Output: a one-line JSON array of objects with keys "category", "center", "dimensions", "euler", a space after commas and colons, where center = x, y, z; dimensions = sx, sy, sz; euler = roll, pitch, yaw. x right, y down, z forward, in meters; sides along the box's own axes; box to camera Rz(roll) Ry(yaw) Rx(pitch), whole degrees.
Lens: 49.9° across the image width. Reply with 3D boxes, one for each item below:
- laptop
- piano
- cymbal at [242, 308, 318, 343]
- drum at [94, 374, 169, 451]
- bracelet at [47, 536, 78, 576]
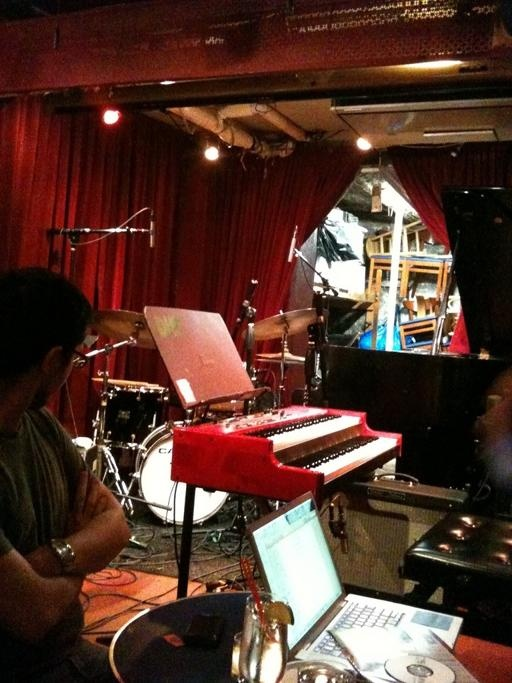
[{"category": "laptop", "center": [0.198, 0.496, 1.091], "dimensions": [0.373, 0.232, 0.384], "euler": [5, -1, 19]}, {"category": "piano", "center": [0.176, 0.461, 2.380], "dimensions": [0.634, 0.326, 1.011], "euler": [1, -1, 30]}, {"category": "cymbal", "center": [0.224, -0.133, 4.241], "dimensions": [0.464, 0.237, 0.595], "euler": [1, 0, 4]}, {"category": "drum", "center": [-0.930, 0.528, 4.232], "dimensions": [0.512, 0.551, 0.553], "euler": [1, 1, 3]}, {"category": "bracelet", "center": [-0.366, 0.411, 1.056], "dimensions": [0.056, 0.056, 0.055], "euler": [-12, 2, -30]}]
